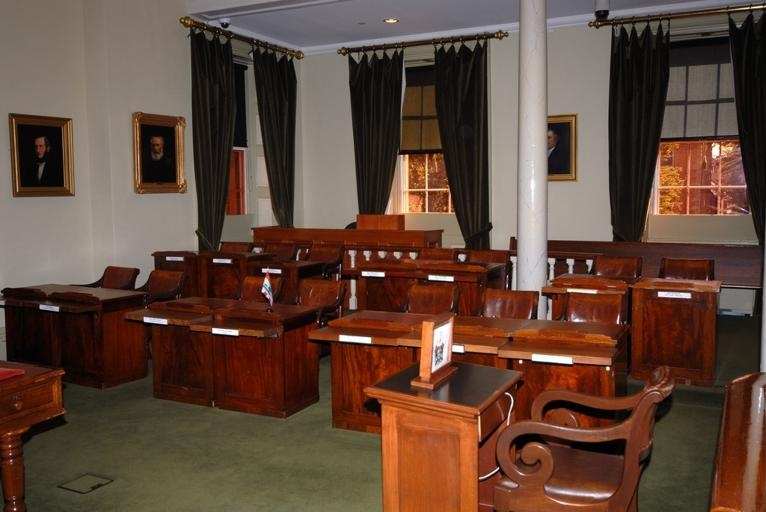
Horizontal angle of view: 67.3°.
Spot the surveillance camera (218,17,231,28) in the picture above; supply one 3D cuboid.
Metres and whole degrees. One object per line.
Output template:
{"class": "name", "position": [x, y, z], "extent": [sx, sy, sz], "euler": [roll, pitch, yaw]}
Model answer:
{"class": "surveillance camera", "position": [-2.707, -4.020, 9.882], "extent": [0.129, 0.109, 0.139], "euler": [-1, 2, -4]}
